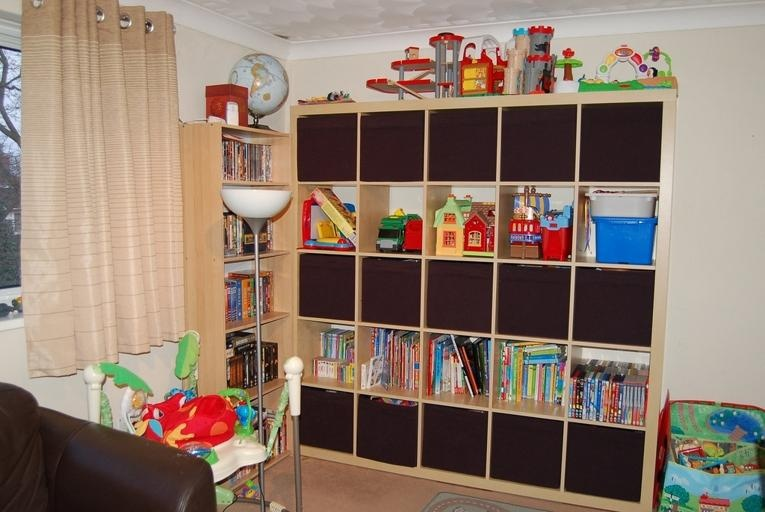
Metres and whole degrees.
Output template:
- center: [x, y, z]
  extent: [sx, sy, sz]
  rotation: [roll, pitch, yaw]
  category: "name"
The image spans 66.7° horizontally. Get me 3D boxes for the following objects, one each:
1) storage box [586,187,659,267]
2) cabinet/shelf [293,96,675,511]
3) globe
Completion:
- center: [1.422, -0.189, 3.558]
  extent: [0.511, 0.537, 0.385]
  rotation: [3, 7, 26]
  category: "storage box"
- center: [0.703, 0.299, 3.591]
  extent: [2.447, 2.326, 0.716]
  rotation: [3, 8, 23]
  category: "cabinet/shelf"
- center: [-0.766, -1.104, 4.095]
  extent: [0.478, 0.572, 0.477]
  rotation: [5, 5, 10]
  category: "globe"
